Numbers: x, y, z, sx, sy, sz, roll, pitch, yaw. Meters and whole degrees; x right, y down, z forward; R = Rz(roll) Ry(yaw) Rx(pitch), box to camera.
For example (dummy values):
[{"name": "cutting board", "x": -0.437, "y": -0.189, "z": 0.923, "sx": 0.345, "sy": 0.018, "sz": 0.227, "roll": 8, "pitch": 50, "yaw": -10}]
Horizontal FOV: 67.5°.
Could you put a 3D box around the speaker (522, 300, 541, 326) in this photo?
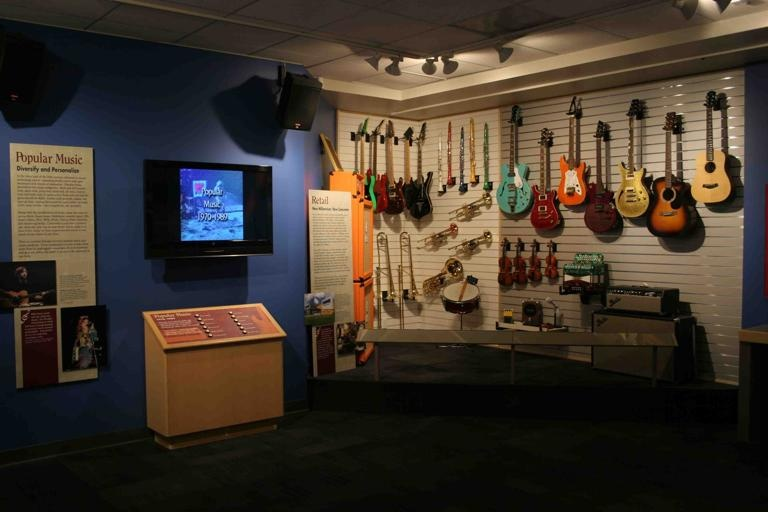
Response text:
[{"name": "speaker", "x": 2.188, "y": 0.832, "z": 8.543, "sx": 0.314, "sy": 0.357, "sz": 0.325, "roll": 3, "pitch": 12, "yaw": 19}]

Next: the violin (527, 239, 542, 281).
[{"name": "violin", "x": 2.290, "y": 0.092, "z": 8.708, "sx": 0.217, "sy": 0.667, "sz": 0.164, "roll": 7, "pitch": 14, "yaw": 36}]

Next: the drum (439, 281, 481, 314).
[{"name": "drum", "x": 1.161, "y": 0.656, "z": 8.787, "sx": 0.537, "sy": 0.488, "sz": 0.680, "roll": 0, "pitch": 11, "yaw": 6}]

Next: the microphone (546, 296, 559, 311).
[{"name": "microphone", "x": 2.511, "y": 0.705, "z": 8.580, "sx": 0.217, "sy": 0.164, "sz": 0.090, "roll": 4, "pitch": 12, "yaw": 23}]

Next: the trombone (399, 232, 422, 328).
[{"name": "trombone", "x": 0.383, "y": 0.424, "z": 9.988, "sx": 0.453, "sy": 1.506, "sz": 0.591, "roll": -3, "pitch": 6, "yaw": -6}]

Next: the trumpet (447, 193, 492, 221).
[{"name": "trumpet", "x": 1.426, "y": -0.767, "z": 9.398, "sx": 0.686, "sy": 0.310, "sz": 0.287, "roll": -22, "pitch": -2, "yaw": 17}]

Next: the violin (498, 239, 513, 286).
[{"name": "violin", "x": 1.891, "y": 0.122, "z": 8.965, "sx": 0.224, "sy": 0.755, "sz": 0.330, "roll": 1, "pitch": 11, "yaw": 11}]

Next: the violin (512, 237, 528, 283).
[{"name": "violin", "x": 2.092, "y": 0.100, "z": 8.831, "sx": 0.219, "sy": 0.709, "sz": 0.294, "roll": 1, "pitch": 11, "yaw": 12}]

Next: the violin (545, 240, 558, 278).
[{"name": "violin", "x": 2.500, "y": 0.074, "z": 8.549, "sx": 0.221, "sy": 0.604, "sz": 0.146, "roll": 5, "pitch": 13, "yaw": 29}]

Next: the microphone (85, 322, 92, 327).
[{"name": "microphone", "x": -3.212, "y": 0.746, "z": 6.257, "sx": 0.040, "sy": 0.052, "sz": 0.018, "roll": -28, "pitch": 10, "yaw": -13}]

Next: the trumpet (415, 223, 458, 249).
[{"name": "trumpet", "x": 0.911, "y": -0.320, "z": 9.734, "sx": 0.708, "sy": 0.252, "sz": 0.270, "roll": -24, "pitch": -47, "yaw": 27}]

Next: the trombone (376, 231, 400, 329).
[{"name": "trombone", "x": 0.022, "y": 0.365, "z": 9.701, "sx": 0.587, "sy": 1.554, "sz": 0.281, "roll": -9, "pitch": 14, "yaw": -36}]

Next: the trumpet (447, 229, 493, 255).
[{"name": "trumpet", "x": 1.421, "y": -0.196, "z": 9.404, "sx": 0.674, "sy": 0.248, "sz": 0.245, "roll": -21, "pitch": 6, "yaw": 16}]
